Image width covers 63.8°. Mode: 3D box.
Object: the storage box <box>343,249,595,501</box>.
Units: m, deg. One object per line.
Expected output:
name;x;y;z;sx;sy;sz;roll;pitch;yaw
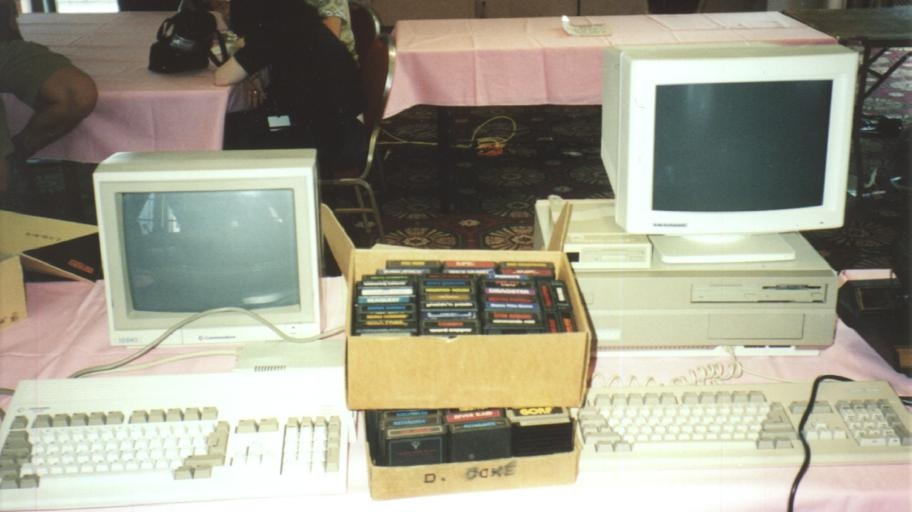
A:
storage box;0.058;0.279;1.974;0.666;0.452;0.590;-4;33;2

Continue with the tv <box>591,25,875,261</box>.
tv;0.760;-0.390;2.348;0.781;0.576;0.688;-1;23;3
